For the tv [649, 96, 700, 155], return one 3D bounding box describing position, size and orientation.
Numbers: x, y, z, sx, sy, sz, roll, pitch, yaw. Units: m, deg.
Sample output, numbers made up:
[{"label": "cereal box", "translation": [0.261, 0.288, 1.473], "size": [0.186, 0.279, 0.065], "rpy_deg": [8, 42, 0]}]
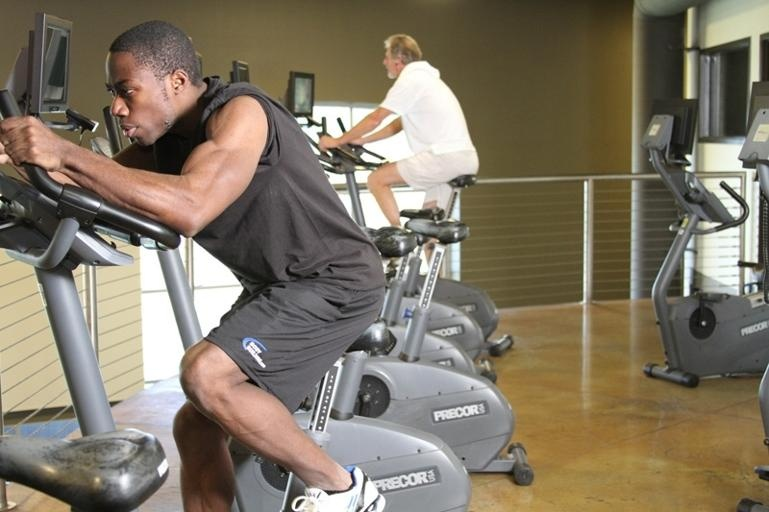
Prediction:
[{"label": "tv", "translation": [1.903, -0.837, 4.235], "size": [0.268, 0.385, 0.226], "rpy_deg": [8, 15, 40]}]
